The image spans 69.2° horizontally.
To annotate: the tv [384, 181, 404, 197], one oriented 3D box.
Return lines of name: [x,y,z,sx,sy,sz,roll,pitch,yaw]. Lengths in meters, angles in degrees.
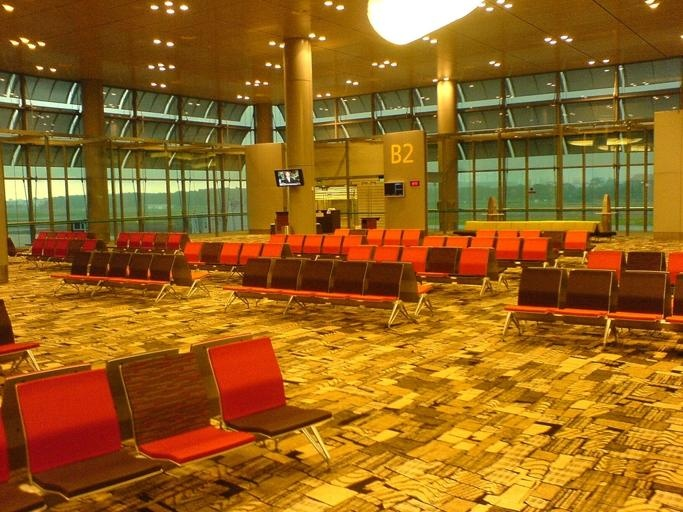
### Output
tv: [2.376,-3.002,22.172,1.090,0.504,0.578,2,2,38]
